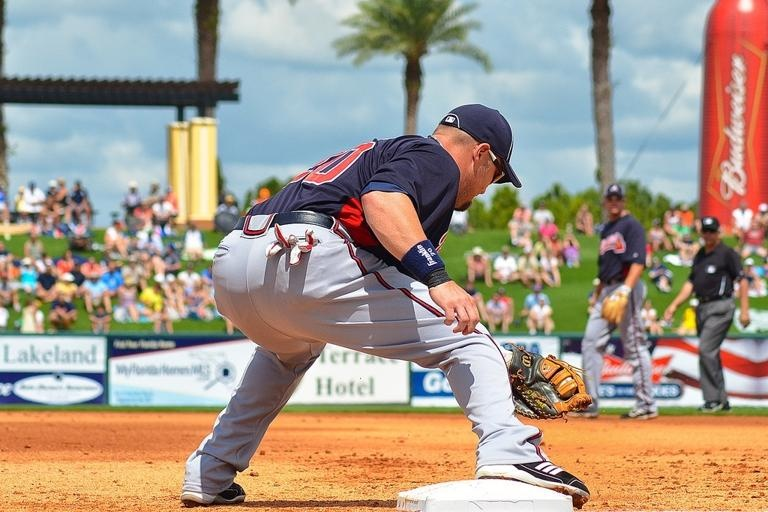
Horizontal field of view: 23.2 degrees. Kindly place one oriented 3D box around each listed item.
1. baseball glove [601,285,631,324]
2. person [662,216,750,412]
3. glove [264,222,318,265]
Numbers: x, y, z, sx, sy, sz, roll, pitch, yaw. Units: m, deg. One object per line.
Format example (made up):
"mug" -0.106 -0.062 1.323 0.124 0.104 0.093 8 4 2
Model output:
"baseball glove" 4.900 0.976 39.790 0.269 0.792 0.585 26 2 -26
"person" 7.127 1.241 40.689 1.534 4.206 0.575 -1 -1 9
"glove" -1.757 -0.303 35.153 0.743 0.266 0.677 -12 -47 34
